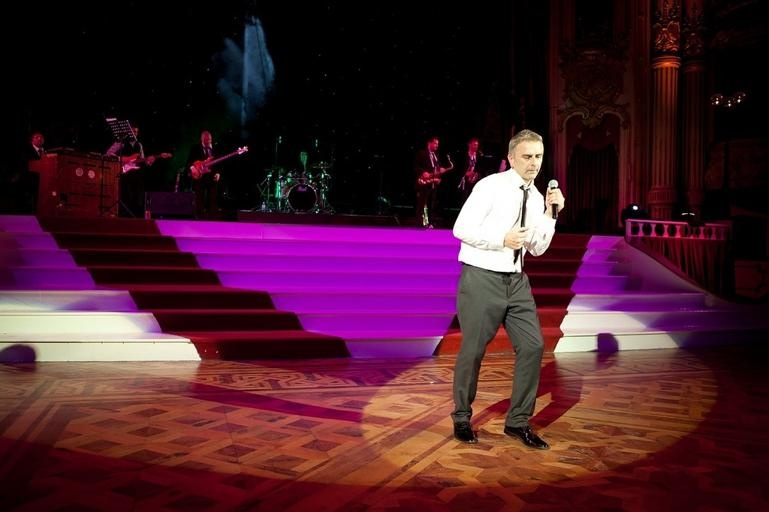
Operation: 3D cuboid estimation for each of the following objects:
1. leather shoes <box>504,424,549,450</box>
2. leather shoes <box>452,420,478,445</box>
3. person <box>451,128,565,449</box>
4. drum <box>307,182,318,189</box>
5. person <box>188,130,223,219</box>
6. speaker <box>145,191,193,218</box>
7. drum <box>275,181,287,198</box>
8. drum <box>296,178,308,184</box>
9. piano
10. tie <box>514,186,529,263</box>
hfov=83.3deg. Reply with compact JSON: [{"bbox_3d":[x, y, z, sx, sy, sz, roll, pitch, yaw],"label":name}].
[{"bbox_3d":[0.960,1.211,2.956,0.109,0.089,0.280,13,-9,-38],"label":"leather shoes"},{"bbox_3d":[0.551,1.197,2.982,0.114,0.061,0.175,1,-2,-19],"label":"leather shoes"},{"bbox_3d":[0.820,0.231,3.014,0.732,2.072,0.460,3,5,7],"label":"person"},{"bbox_3d":[-1.799,-1.590,10.854,0.106,0.171,0.286,6,5,38],"label":"drum"},{"bbox_3d":[-3.559,-1.469,8.553,0.587,1.686,0.718,1,5,-21],"label":"person"},{"bbox_3d":[-4.778,-1.009,9.595,0.946,0.561,0.692,0,4,-26],"label":"speaker"},{"bbox_3d":[-2.574,-1.476,10.699,0.130,0.419,0.297,-1,5,-42],"label":"drum"},{"bbox_3d":[-2.046,-1.684,10.749,0.278,0.197,0.129,2,4,-10],"label":"drum"},{"bbox_3d":[-5.744,-1.221,8.127,1.225,1.147,0.492,0,5,-31],"label":"piano"},{"bbox_3d":[0.964,-0.172,3.002,0.113,0.526,0.088,13,-15,-26],"label":"tie"}]
